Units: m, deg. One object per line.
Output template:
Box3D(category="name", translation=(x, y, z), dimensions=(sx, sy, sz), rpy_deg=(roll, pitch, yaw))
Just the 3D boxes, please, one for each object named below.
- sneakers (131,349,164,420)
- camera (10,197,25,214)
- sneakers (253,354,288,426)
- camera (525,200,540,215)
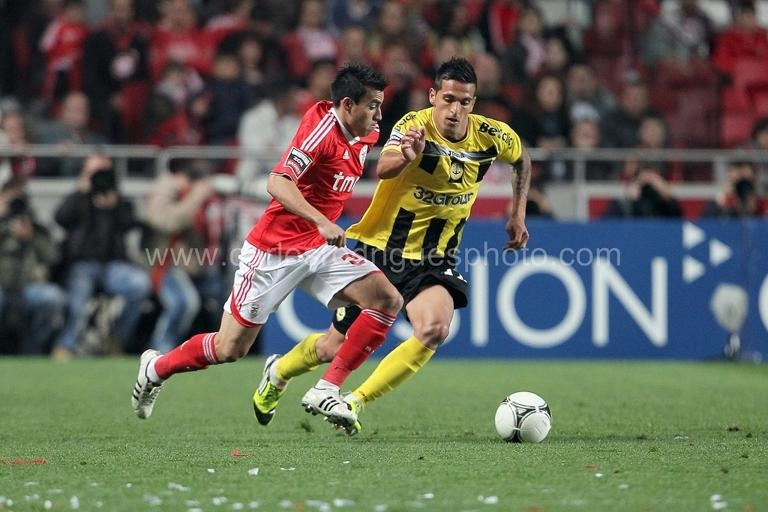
Box3D(category="sneakers", translation=(-2.054, 1.143, 9.661), dimensions=(0.287, 0.669, 0.219), rpy_deg=(3, -2, 29))
Box3D(category="camera", translation=(-4.246, -0.577, 12.822), dimensions=(0.177, 0.132, 0.183), rpy_deg=(-7, 1, 8))
Box3D(category="sneakers", translation=(-0.999, 1.210, 9.699), dimensions=(0.224, 0.671, 0.278), rpy_deg=(10, 4, -40))
Box3D(category="camera", translation=(1.759, -0.574, 13.076), dimensions=(0.175, 0.167, 0.042), rpy_deg=(-3, 6, -11))
